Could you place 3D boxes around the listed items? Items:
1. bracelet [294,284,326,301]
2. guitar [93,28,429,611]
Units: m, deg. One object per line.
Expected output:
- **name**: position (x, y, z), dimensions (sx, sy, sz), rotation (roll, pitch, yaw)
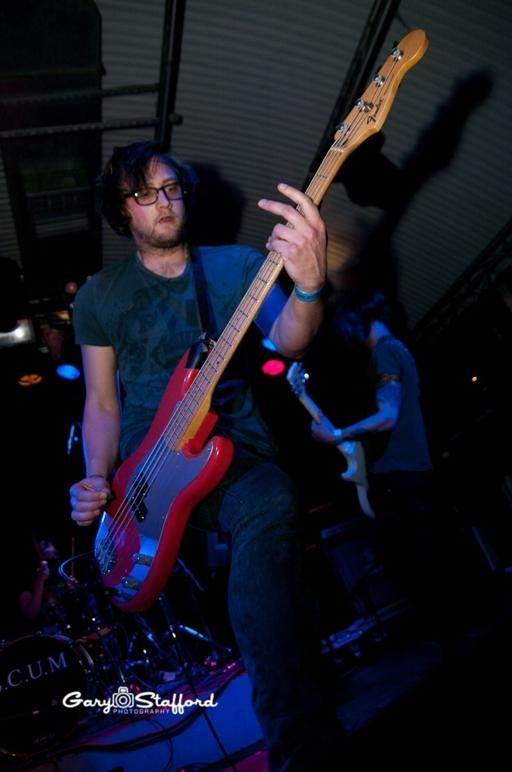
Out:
- **bracelet**: position (0.227, -0.409, 2.846), dimensions (0.084, 0.081, 0.053), rotation (4, 41, 4)
- **guitar**: position (-0.070, -0.214, 2.954), dimensions (0.459, 2.721, 1.628), rotation (28, 39, -8)
